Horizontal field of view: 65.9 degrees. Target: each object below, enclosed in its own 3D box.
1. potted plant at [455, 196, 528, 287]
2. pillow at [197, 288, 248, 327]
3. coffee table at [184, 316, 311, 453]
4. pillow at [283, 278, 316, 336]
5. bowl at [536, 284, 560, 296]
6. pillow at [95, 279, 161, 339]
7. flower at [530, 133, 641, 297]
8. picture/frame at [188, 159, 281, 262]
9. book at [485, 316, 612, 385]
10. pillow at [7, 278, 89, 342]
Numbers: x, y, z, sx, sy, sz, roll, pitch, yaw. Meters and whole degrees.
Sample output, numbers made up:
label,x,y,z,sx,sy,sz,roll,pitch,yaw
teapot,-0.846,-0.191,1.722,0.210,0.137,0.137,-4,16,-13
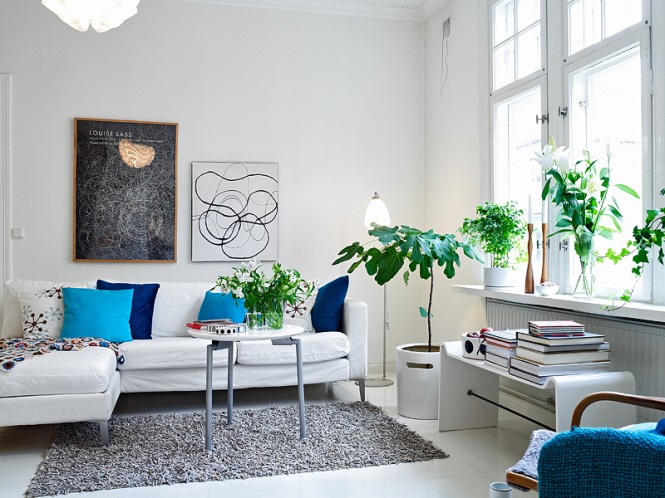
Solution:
label,x,y,z,sx,sy,sz,roll,pitch,yaw
potted plant,1.190,-0.008,3.978,0.614,0.807,0.571,0,-3,-2
pillow,-0.854,0.470,4.029,0.253,0.291,0.109,10,-24,11
coffee table,-0.560,0.847,3.460,0.750,0.774,0.728,4,-6,-24
pillow,-0.253,0.532,4.619,0.358,0.456,0.124,3,-6,41
bowl,1.431,0.275,3.468,0.083,0.054,0.093,1,-3,-8
pillow,-1.685,0.511,4.213,0.395,0.437,0.157,4,-35,-9
flower,1.596,-0.190,3.253,0.569,0.947,0.593,3,4,32
picture/frame,-0.990,-0.360,4.953,0.880,1.067,0.039,0,1,-12
book,1.281,0.518,2.867,0.458,0.188,0.370,0,0,-19
pillow,-2.254,0.507,4.050,0.376,0.287,0.143,1,-31,-10
